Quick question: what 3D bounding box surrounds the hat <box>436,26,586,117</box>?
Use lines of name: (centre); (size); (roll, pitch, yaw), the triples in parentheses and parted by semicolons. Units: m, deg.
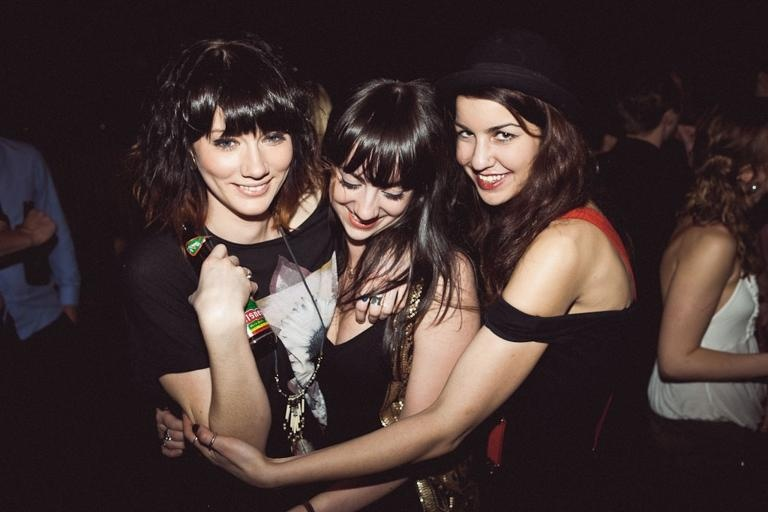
hat: (0.806, -1.123, 3.835); (0.538, 0.307, 0.675); (23, 5, 42)

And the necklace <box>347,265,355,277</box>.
necklace: (-0.220, 0.097, 4.150); (0.042, 0.044, 0.013); (-7, -18, 21)

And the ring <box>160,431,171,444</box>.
ring: (-1.426, 1.186, 4.193); (0.068, 0.075, 0.021); (-3, -9, 30)

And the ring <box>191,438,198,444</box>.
ring: (-1.171, 1.140, 3.964); (0.036, 0.038, 0.014); (41, 40, 15)

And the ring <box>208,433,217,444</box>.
ring: (-1.034, 1.115, 3.873); (0.012, 0.049, 0.046); (27, -7, -4)
